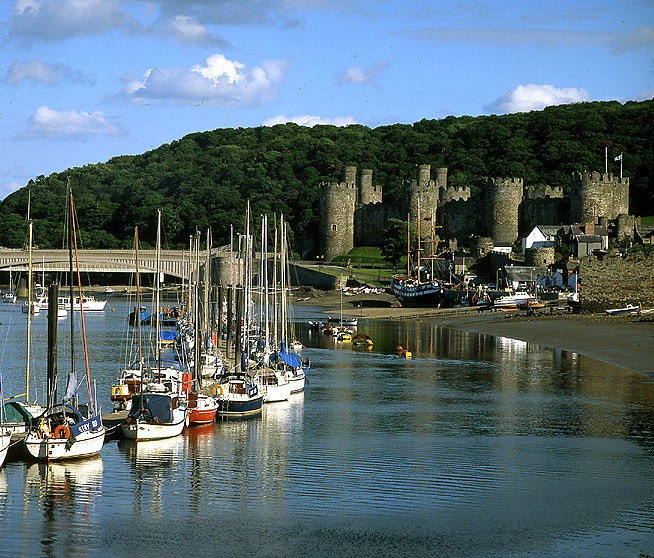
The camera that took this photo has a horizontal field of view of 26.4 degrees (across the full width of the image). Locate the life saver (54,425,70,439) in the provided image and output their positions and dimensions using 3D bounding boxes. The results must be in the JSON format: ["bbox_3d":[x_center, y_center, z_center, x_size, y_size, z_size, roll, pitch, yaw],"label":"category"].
[{"bbox_3d":[-6.877,3.948,36.256,0.395,0.338,0.277,-2,0,-11],"label":"life saver"}]
